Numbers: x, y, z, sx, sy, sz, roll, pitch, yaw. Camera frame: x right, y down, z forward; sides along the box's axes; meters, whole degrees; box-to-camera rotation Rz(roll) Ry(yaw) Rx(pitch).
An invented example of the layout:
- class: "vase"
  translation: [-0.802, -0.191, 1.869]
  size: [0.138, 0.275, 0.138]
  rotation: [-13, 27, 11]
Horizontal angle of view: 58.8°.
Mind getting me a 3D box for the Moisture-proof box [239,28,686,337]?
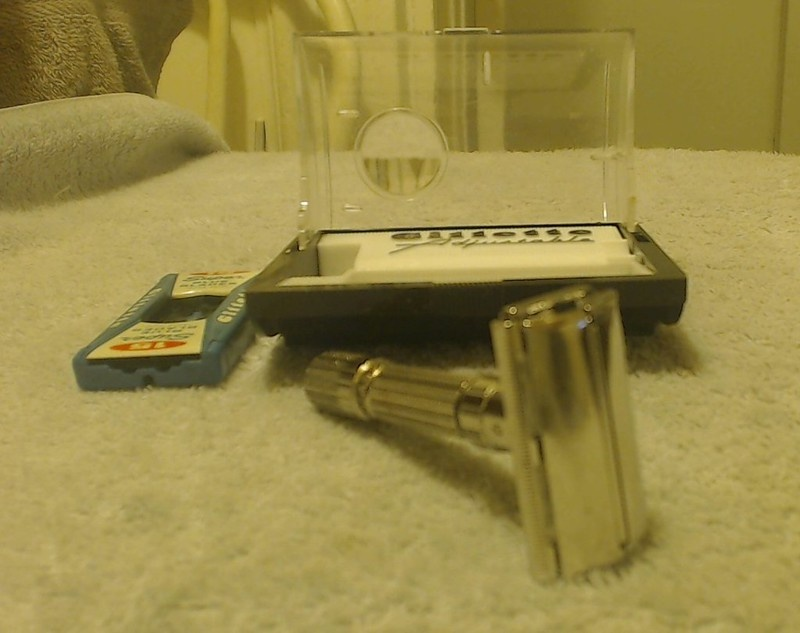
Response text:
- class: "Moisture-proof box"
  translation: [0.049, -0.098, 0.547]
  size: [0.327, 0.196, 0.156]
  rotation: [-1, 36, 7]
